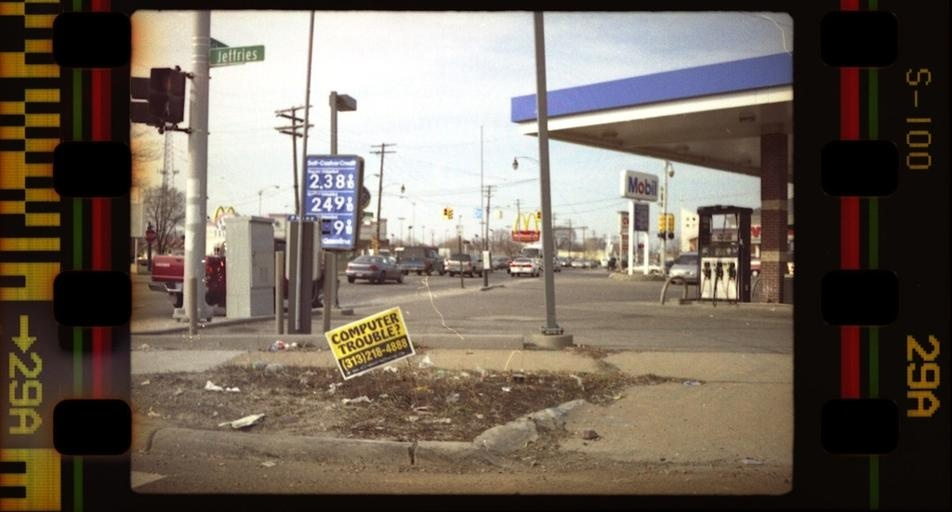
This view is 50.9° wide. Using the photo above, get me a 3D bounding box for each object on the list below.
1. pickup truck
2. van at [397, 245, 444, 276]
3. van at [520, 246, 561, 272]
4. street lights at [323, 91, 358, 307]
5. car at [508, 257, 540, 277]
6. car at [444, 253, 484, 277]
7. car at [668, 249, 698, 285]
[{"bbox_3d":[-5.071,0.401,21.069,3.363,1.413,1.916,-1,-1,-12],"label":"pickup truck"},{"bbox_3d":[-2.745,0.219,50.292,1.234,0.914,2.498,0,3,17],"label":"van"},{"bbox_3d":[3.616,-0.040,61.387,1.398,1.642,3.482,-3,-7,17],"label":"van"},{"bbox_3d":[-2.775,-1.883,20.396,0.794,2.958,0.452,5,20,4],"label":"street lights"},{"bbox_3d":[2.456,0.576,51.558,0.974,0.624,2.206,0,4,14],"label":"car"},{"bbox_3d":[-0.676,0.436,49.658,1.097,0.694,2.071,0,2,22],"label":"car"},{"bbox_3d":[6.789,0.347,32.748,0.991,0.660,2.080,-1,-4,16],"label":"car"}]
